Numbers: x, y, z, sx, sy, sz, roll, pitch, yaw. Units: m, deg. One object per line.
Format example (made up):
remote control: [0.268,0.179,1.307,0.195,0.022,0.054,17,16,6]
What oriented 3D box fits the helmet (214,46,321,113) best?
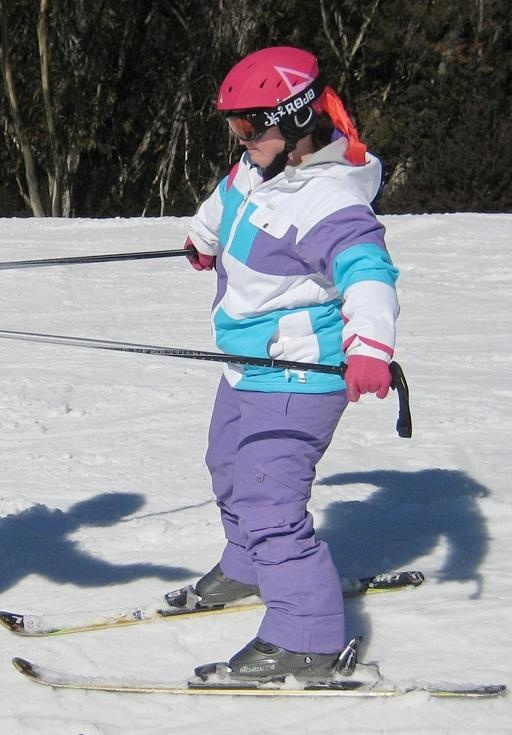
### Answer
helmet: [0.052,-0.856,2.715,0.393,0.123,0.241,-12,41,-6]

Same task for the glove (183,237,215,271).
glove: [-0.193,-0.409,3.430,0.146,0.048,0.102,26,-4,-23]

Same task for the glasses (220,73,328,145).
glasses: [0.069,-0.711,2.681,0.250,0.113,0.178,-30,18,-6]

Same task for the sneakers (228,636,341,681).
sneakers: [0.107,0.812,2.627,0.355,0.092,0.102,3,-5,3]

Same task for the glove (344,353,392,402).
glove: [0.274,0.032,2.289,0.114,0.122,0.099,1,15,4]
